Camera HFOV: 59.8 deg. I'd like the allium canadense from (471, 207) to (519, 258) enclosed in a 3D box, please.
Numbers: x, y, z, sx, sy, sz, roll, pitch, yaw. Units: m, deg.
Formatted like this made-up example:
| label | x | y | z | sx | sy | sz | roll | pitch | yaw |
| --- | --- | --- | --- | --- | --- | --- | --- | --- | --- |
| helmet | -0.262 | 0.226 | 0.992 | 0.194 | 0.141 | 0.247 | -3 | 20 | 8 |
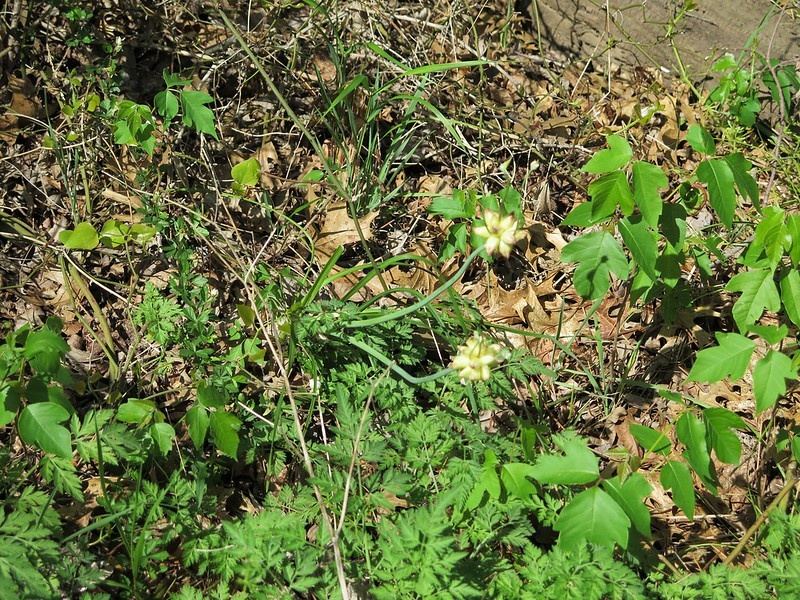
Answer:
| label | x | y | z | sx | sy | sz | roll | pitch | yaw |
| --- | --- | --- | --- | --- | --- | --- | --- | --- | --- |
| allium canadense | 0.378 | -0.282 | 2.735 | 0.182 | 0.188 | 0.076 | 41 | 13 | -2 |
